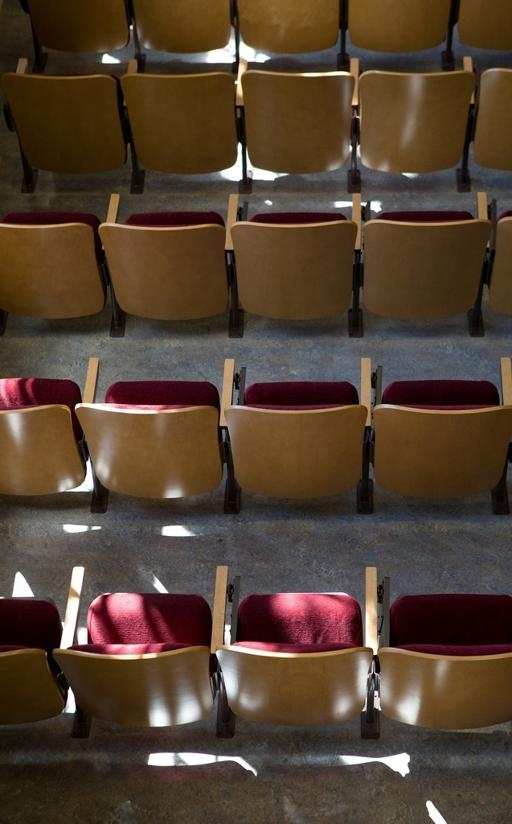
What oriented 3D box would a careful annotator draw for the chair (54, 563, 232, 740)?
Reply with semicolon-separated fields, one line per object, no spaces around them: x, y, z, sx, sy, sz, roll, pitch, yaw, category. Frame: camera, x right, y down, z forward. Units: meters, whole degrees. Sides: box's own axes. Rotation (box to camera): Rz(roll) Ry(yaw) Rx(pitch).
-0.262;0.559;1.815;0.424;0.566;0.594;0;-45;0;chair

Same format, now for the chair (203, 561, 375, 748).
0.107;0.585;1.720;0.442;0.568;0.588;0;-31;2;chair
